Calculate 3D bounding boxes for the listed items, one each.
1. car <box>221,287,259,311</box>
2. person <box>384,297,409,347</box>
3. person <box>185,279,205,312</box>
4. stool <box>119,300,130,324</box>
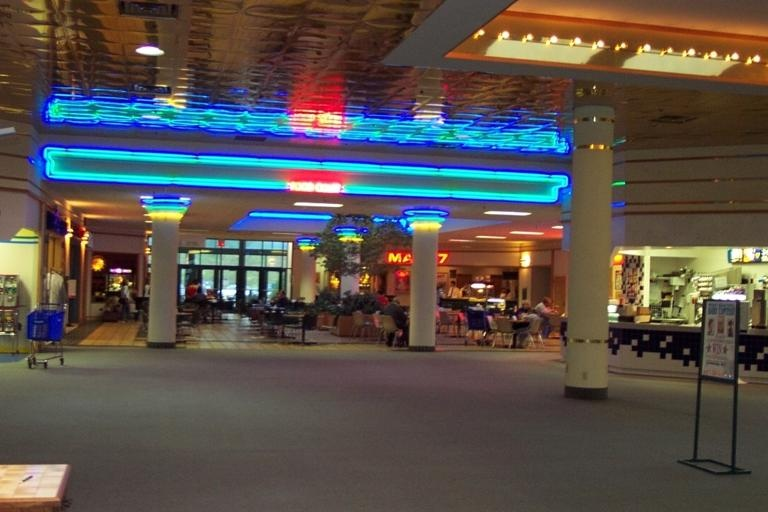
[{"bbox_3d":[-7.541,2.395,33.635,1.950,0.800,2.440,0,-2,-8],"label":"car"},{"bbox_3d":[0.338,1.903,18.671,0.703,1.367,1.418,1,-3,0],"label":"person"},{"bbox_3d":[-7.771,1.577,26.267,0.888,1.292,0.578,4,19,-26],"label":"person"},{"bbox_3d":[-10.634,2.169,26.005,0.393,0.855,1.190,2,-3,-8],"label":"stool"}]
